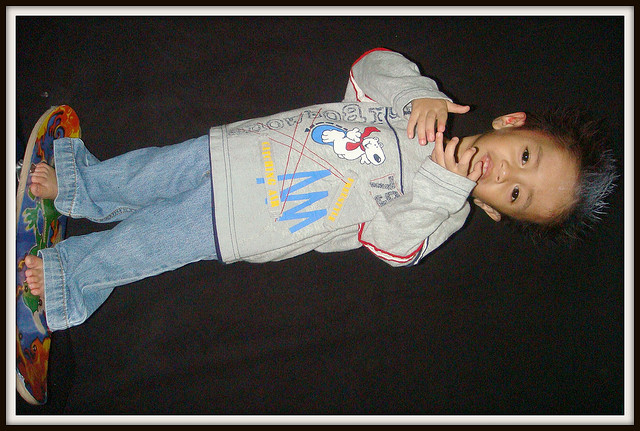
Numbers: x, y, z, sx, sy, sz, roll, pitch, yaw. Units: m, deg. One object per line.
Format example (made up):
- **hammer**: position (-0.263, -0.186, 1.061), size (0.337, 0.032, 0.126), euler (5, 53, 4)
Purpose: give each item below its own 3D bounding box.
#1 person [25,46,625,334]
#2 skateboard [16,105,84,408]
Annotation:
- **person**: position (-0.041, -0.064, 2.004), size (2.438, 0.819, 0.769), euler (-5, 17, 8)
- **skateboard**: position (-1.045, 0.137, 1.924), size (0.190, 1.035, 0.283), euler (-3, -9, 43)
